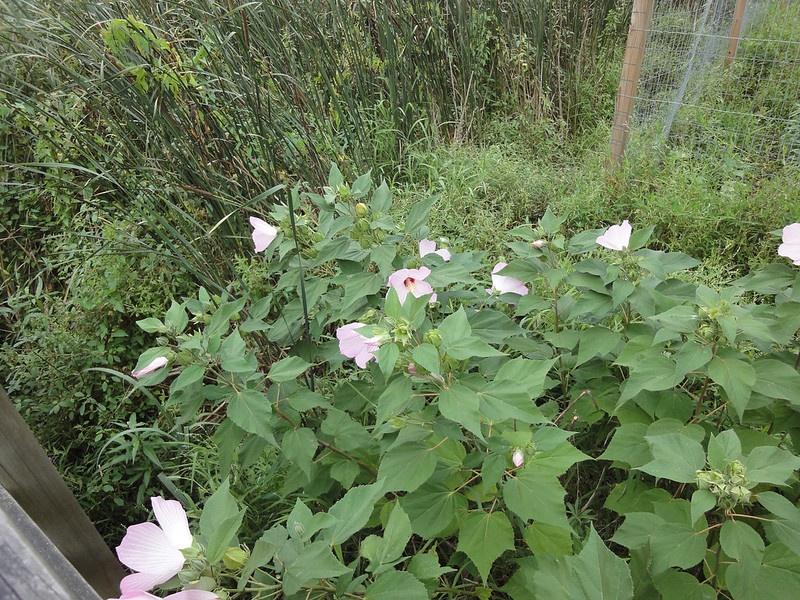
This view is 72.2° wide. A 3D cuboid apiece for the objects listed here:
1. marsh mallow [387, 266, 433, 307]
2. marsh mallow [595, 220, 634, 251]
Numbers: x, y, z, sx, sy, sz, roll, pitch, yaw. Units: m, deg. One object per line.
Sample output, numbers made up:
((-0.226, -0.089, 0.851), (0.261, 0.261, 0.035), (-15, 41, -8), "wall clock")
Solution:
((0.046, -0.049, 1.811), (0.160, 0.110, 0.088), (-19, 37, -18), "marsh mallow")
((0.727, -0.202, 1.868), (0.094, 0.113, 0.053), (26, 12, 22), "marsh mallow")
